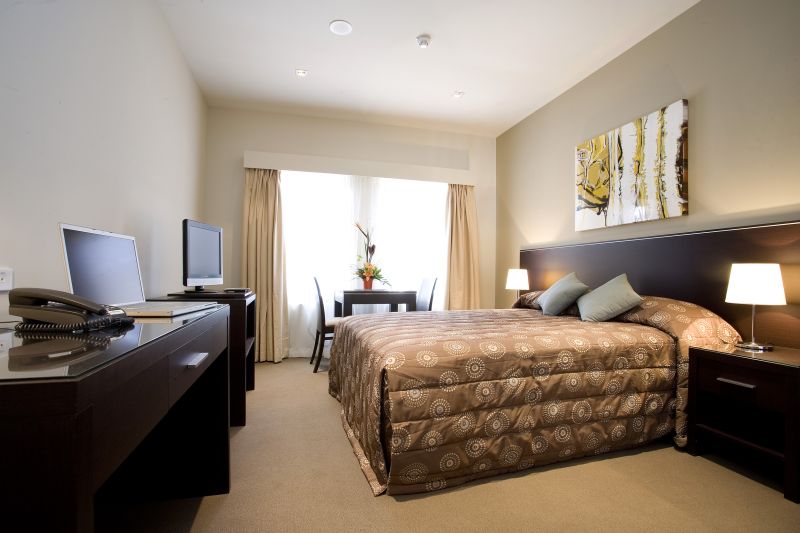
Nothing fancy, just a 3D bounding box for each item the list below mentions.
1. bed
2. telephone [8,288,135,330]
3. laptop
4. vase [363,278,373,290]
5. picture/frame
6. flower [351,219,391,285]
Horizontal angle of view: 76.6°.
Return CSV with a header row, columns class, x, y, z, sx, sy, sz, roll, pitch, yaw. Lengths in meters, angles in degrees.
class,x,y,z,sx,sy,sz,roll,pitch,yaw
bed,0.795,0.838,3.596,1.873,0.682,1.492,1,-2,-14
telephone,-1.545,0.219,2.341,0.303,0.117,0.306,2,-2,-19
laptop,-1.543,0.041,2.915,0.511,0.440,0.609,1,-2,2
vase,-0.358,0.211,5.883,0.114,0.097,0.115,-2,-2,12
picture/frame,2.078,-0.882,4.475,0.061,1.093,1.308,3,-3,-26
flower,-0.336,-0.126,6.089,0.396,0.805,0.571,0,2,-4
